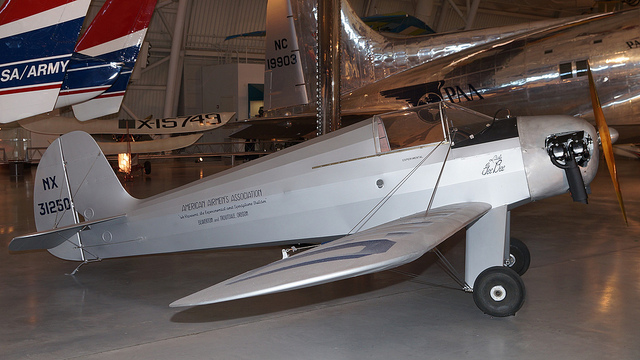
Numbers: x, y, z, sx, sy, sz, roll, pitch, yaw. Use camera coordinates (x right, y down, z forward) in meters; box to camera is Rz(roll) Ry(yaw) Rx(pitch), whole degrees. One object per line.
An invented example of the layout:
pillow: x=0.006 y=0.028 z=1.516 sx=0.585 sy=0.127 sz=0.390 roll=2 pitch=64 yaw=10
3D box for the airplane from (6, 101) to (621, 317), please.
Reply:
airplane: x=-0.069 y=0.289 z=6.944 sx=5.947 sy=1.710 sz=5.585 roll=2 pitch=7 yaw=8

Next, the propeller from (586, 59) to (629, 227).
propeller: x=4.705 y=-0.634 z=7.936 sx=0.559 sy=2.716 sz=1.657 roll=0 pitch=7 yaw=29
